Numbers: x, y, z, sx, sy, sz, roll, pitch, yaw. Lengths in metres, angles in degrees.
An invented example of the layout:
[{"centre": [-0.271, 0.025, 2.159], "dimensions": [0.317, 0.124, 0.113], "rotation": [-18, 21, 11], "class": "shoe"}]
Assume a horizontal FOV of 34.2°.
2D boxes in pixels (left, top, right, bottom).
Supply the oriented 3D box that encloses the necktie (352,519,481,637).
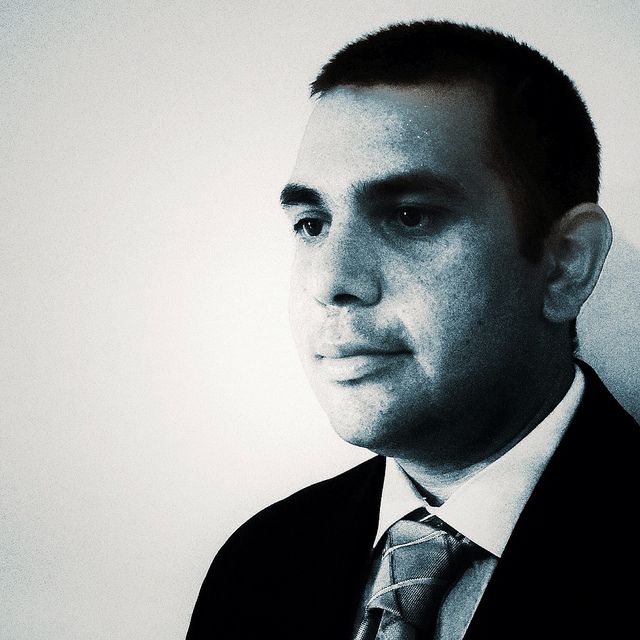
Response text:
[{"centre": [0.173, 0.452, 1.867], "dimensions": [0.065, 0.242, 0.174], "rotation": [26, -7, -30], "class": "necktie"}]
